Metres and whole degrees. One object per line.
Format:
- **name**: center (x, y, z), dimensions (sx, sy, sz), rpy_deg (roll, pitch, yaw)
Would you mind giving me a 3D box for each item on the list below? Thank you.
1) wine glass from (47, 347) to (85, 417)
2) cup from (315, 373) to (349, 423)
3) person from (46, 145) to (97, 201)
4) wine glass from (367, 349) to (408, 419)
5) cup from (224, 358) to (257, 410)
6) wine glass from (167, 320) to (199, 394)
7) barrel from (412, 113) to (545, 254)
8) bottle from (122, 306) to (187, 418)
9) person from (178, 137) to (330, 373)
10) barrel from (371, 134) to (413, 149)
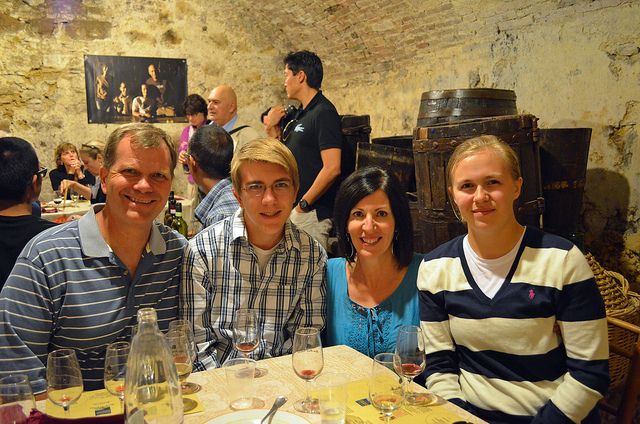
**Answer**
- **wine glass**: center (-1.095, 0.718, 1.948), dimensions (0.124, 0.239, 0.218), rpy_deg (-6, 8, -36)
- **cup**: center (0.050, 0.740, 1.841), dimensions (0.193, 0.221, 0.166), rpy_deg (0, -18, -2)
- **person**: center (-3.687, -0.612, 6.786), dimensions (0.581, 0.818, 0.760), rpy_deg (-9, 1, -40)
- **wine glass**: center (0.292, 0.746, 1.981), dimensions (0.180, 0.238, 0.289), rpy_deg (1, 6, 9)
- **cup**: center (-0.341, 0.741, 1.991), dimensions (0.196, 0.197, 0.180), rpy_deg (0, -9, 0)
- **wine glass**: center (-0.667, 0.698, 2.181), dimensions (0.177, 0.310, 0.183), rpy_deg (-6, -5, 36)
- **barrel**: center (1.032, -0.145, 3.554), dimensions (0.990, 0.968, 1.022), rpy_deg (-8, 1, -12)
- **bottle**: center (-0.648, 0.594, 1.749), dimensions (0.206, 0.423, 0.192), rpy_deg (0, 7, 0)
- **person**: center (-0.348, 0.333, 2.608), dimensions (0.973, 1.405, 0.818), rpy_deg (0, 0, -25)
- **barrel**: center (0.762, -0.720, 4.733), dimensions (0.343, 0.238, 0.334), rpy_deg (0, 4, 0)
